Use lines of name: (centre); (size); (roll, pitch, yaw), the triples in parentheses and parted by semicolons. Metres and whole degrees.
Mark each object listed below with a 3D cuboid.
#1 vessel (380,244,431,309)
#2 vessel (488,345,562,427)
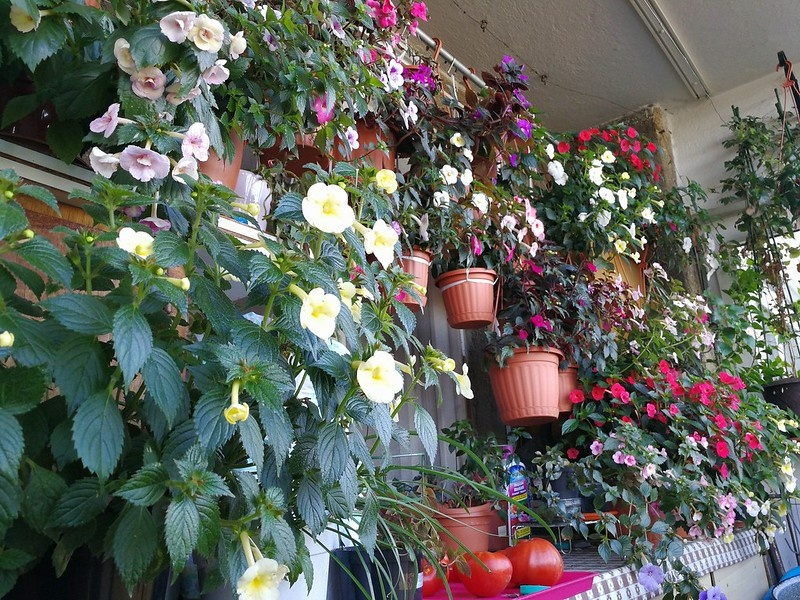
vessel: (0.016, -0.063, 1.646); (0.125, 0.163, 0.139); (1, -25, -1)
vessel: (0.417, 0.280, 2.041); (0.217, 0.198, 0.240); (1, -26, -2)
